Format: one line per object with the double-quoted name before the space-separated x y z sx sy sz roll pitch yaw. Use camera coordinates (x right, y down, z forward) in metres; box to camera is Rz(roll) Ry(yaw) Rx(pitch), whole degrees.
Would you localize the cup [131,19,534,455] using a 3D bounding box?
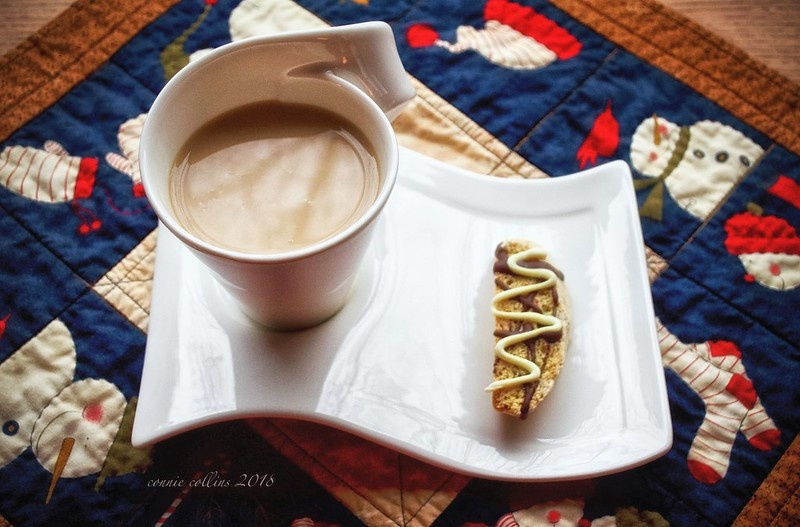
"cup" -0.141 -0.117 1.002 0.391 0.282 0.307 -23 62 -11
